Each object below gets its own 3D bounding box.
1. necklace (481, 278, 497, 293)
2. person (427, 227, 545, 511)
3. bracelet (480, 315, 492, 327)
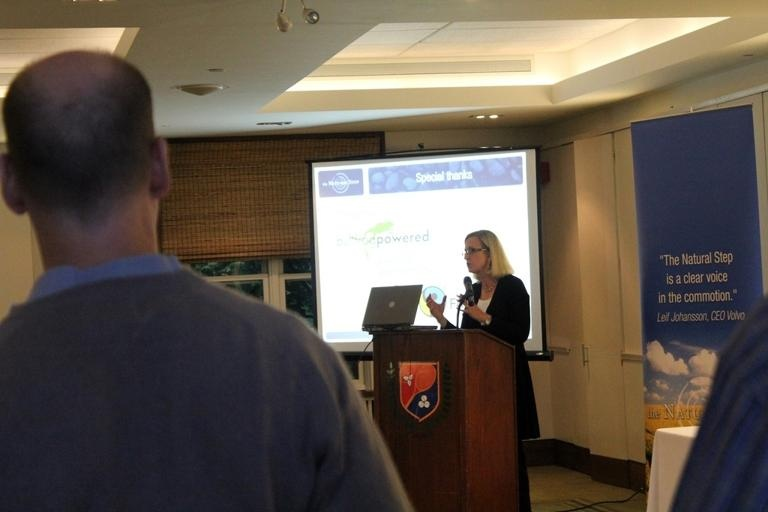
[{"bbox_3d":[0.660,0.182,4.721,0.061,0.092,0.076,-3,-20,25],"label":"necklace"},{"bbox_3d":[0.633,0.696,4.518,0.638,1.726,0.840,0,1,-1],"label":"person"},{"bbox_3d":[0.599,0.378,4.368,0.031,0.064,0.053,22,20,10],"label":"bracelet"}]
